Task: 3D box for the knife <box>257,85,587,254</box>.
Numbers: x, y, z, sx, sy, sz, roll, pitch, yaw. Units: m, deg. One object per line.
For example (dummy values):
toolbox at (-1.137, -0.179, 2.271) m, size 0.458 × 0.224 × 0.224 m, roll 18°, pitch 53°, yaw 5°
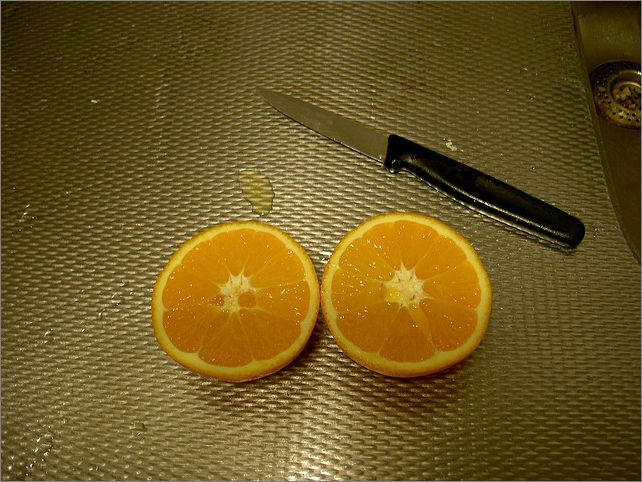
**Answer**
knife at (0.191, -0.122, 1.467) m, size 0.657 × 0.049 × 0.087 m, roll 22°, pitch 66°, yaw 7°
